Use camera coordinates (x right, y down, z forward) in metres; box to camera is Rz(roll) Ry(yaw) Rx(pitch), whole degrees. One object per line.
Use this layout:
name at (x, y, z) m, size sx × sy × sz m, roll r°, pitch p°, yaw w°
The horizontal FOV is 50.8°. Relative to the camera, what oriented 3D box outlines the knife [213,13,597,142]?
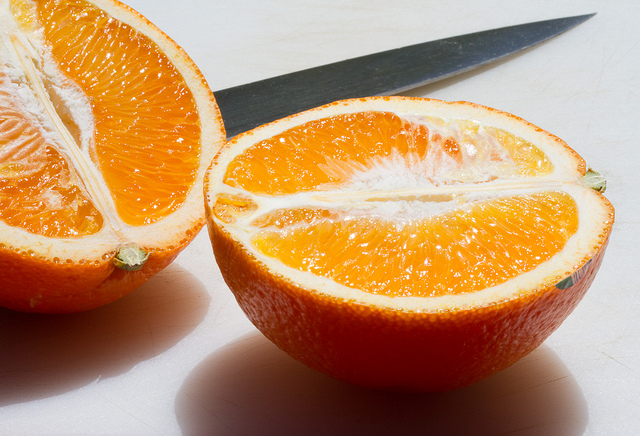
knife at (0.245, -0.373, 1.824) m, size 1.210 × 0.099 × 0.173 m, roll -16°, pitch 54°, yaw -8°
